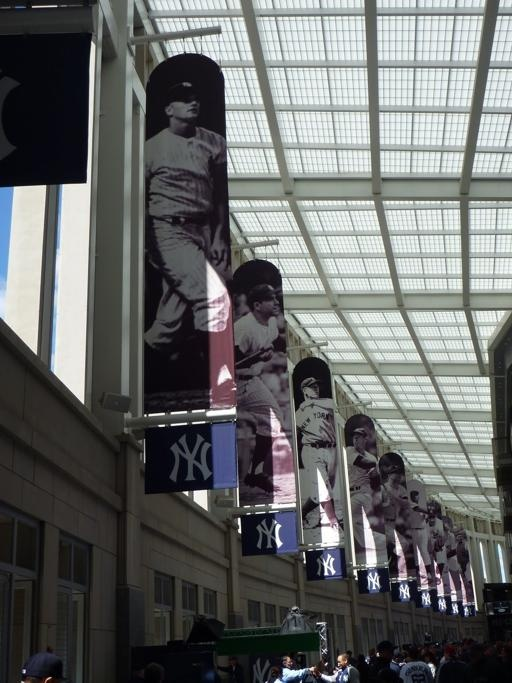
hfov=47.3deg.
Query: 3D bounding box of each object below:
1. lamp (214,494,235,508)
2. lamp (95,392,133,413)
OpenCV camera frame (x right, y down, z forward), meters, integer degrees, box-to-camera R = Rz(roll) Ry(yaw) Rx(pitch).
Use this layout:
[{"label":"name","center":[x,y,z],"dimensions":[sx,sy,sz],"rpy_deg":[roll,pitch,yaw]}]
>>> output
[{"label":"lamp","center":[-0.890,4.493,16.443],"dimensions":[0.430,0.311,0.483],"rpy_deg":[-1,-12,14]},{"label":"lamp","center":[-1.992,0.899,8.179],"dimensions":[0.494,0.271,0.349],"rpy_deg":[13,-25,-28]}]
